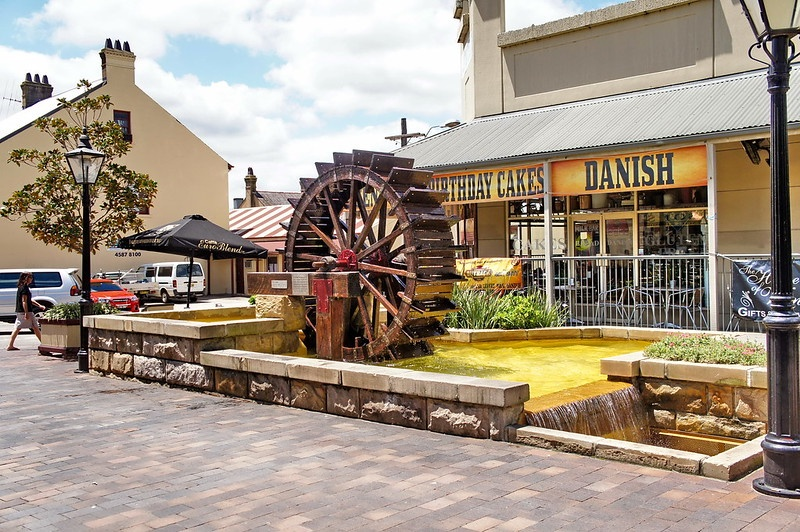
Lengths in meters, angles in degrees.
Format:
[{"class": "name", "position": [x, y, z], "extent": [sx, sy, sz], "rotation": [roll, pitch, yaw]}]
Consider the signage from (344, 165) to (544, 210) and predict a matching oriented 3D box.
[{"class": "signage", "position": [1.594, -2.078, 15.858], "extent": [4.397, 0.889, 0.072], "rotation": [0, -13, 39]}]

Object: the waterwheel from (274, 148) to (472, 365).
[{"class": "waterwheel", "position": [-0.476, -0.051, 11.986], "extent": [2.342, 5.144, 4.825], "rotation": [0, 1, -43]}]

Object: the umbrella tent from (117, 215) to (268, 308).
[{"class": "umbrella tent", "position": [-5.165, -0.106, 15.164], "extent": [3.025, 1.913, 2.873], "rotation": [4, -9, -12]}]

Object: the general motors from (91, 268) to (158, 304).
[{"class": "general motors", "position": [-13.875, 1.049, 30.501], "extent": [3.282, 1.626, 1.900], "rotation": [2, 1, 15]}]

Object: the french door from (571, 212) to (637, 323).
[{"class": "french door", "position": [4.934, -0.057, 14.927], "extent": [1.513, 2.234, 3.682], "rotation": [0, 6, 18]}]

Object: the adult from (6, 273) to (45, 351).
[{"class": "adult", "position": [-9.056, 1.102, 14.708], "extent": [0.831, 1.921, 2.176], "rotation": [-6, 7, -33]}]

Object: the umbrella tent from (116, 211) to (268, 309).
[{"class": "umbrella tent", "position": [-5.203, -0.167, 15.329], "extent": [3.302, 2.142, 3.299], "rotation": [7, 1, 2]}]

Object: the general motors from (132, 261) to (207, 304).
[{"class": "general motors", "position": [-11.519, 0.832, 30.117], "extent": [3.011, 1.514, 1.969], "rotation": [5, 4, 42]}]

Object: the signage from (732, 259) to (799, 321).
[{"class": "signage", "position": [5.349, 0.346, 8.981], "extent": [0.053, 0.838, 1.154], "rotation": [1, -4, -27]}]

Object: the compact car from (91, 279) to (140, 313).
[{"class": "compact car", "position": [-9.619, 0.997, 20.570], "extent": [1.318, 1.003, 3.050], "rotation": [-2, 1, -44]}]

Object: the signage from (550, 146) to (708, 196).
[{"class": "signage", "position": [5.076, -2.146, 13.871], "extent": [0.104, 0.894, 3.938], "rotation": [-3, 5, -29]}]
